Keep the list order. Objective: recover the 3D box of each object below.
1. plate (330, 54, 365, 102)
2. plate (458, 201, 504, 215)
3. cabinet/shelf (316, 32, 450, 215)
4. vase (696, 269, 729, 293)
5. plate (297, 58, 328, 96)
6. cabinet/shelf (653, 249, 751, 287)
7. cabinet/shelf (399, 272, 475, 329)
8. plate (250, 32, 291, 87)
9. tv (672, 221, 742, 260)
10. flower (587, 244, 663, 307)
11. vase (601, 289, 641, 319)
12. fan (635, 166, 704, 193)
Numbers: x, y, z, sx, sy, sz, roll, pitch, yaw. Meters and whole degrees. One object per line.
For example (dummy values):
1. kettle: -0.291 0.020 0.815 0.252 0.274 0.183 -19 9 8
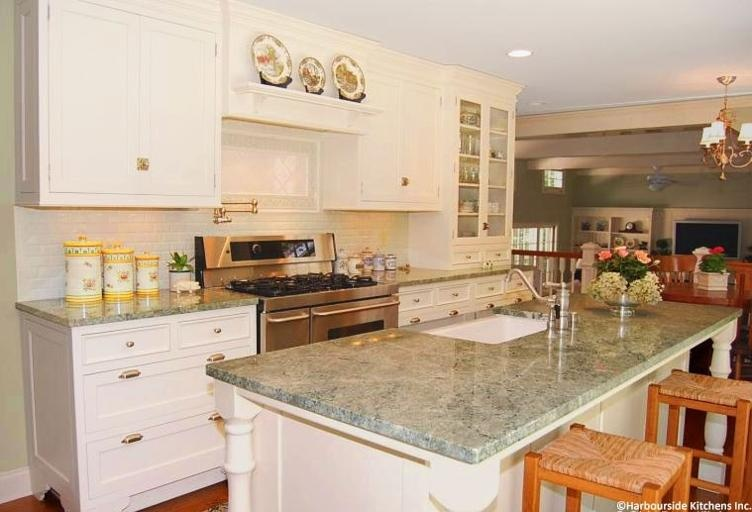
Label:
1. plate: -0.217 -1.485 4.395 0.108 0.367 0.339 13 17 38
2. plate: 1.108 -0.525 5.588 0.402 0.073 0.237 0 1 1
3. cabinet/shelf: 0.015 -1.207 4.688 1.701 1.377 0.591 -4 9 -42
4. vase: 3.279 0.242 5.179 0.275 0.154 0.249 0 4 15
5. plate: -0.493 -1.435 4.182 0.107 0.287 0.250 11 15 31
6. cabinet/shelf: 3.622 0.131 5.825 0.685 0.668 0.563 0 -3 8
7. cabinet/shelf: 0.389 0.414 4.993 0.401 0.388 1.380 3 4 41
8. plate: -0.767 -1.457 3.922 0.328 0.376 0.105 -10 18 -42
9. tv: 7.592 -0.340 12.200 1.916 0.968 0.172 0 1 -14
10. flower: 1.610 0.123 3.546 0.504 0.369 0.437 0 -1 5
11. vase: 1.613 0.311 3.468 0.235 0.131 0.200 -1 5 -2
12. fan: 6.389 -1.745 11.859 0.891 0.289 0.900 2 2 36
